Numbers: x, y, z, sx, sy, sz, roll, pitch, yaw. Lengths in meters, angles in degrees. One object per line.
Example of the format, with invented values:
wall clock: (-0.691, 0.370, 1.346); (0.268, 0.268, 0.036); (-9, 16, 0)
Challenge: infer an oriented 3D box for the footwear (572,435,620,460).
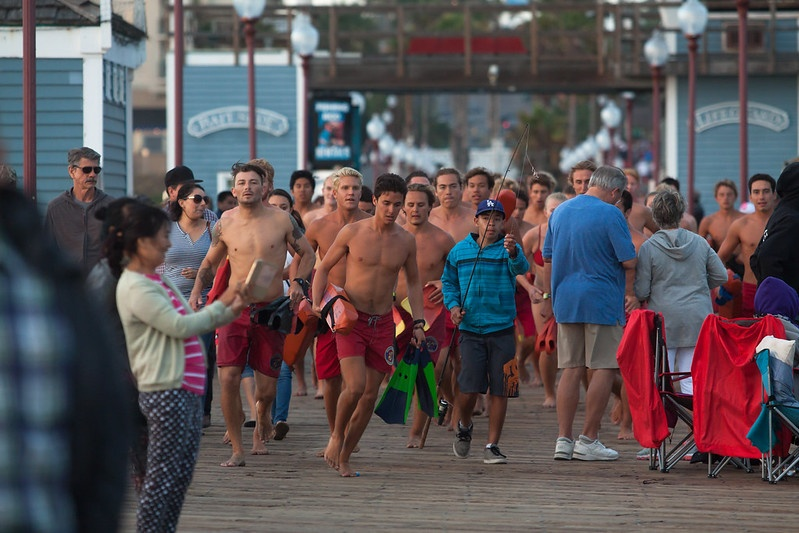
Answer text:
footwear: (2.504, 2.366, 24.036); (0.640, 0.320, 0.260); (1, -1, -9)

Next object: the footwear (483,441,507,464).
footwear: (1.242, 2.412, 24.082); (0.294, 0.264, 0.345); (1, 5, 2)

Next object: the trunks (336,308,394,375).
trunks: (-0.448, 0.907, 23.823); (0.798, 0.771, 0.509); (5, 0, -23)

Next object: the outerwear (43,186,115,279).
outerwear: (-3.963, -0.383, 23.076); (1.095, 1.154, 0.581); (-2, 5, -25)

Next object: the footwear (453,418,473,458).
footwear: (0.827, 2.272, 24.164); (0.180, 0.554, 0.214); (5, -4, -5)

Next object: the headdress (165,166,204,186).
headdress: (-2.916, -1.200, 24.950); (0.419, 0.233, 0.271); (-6, 3, 7)
